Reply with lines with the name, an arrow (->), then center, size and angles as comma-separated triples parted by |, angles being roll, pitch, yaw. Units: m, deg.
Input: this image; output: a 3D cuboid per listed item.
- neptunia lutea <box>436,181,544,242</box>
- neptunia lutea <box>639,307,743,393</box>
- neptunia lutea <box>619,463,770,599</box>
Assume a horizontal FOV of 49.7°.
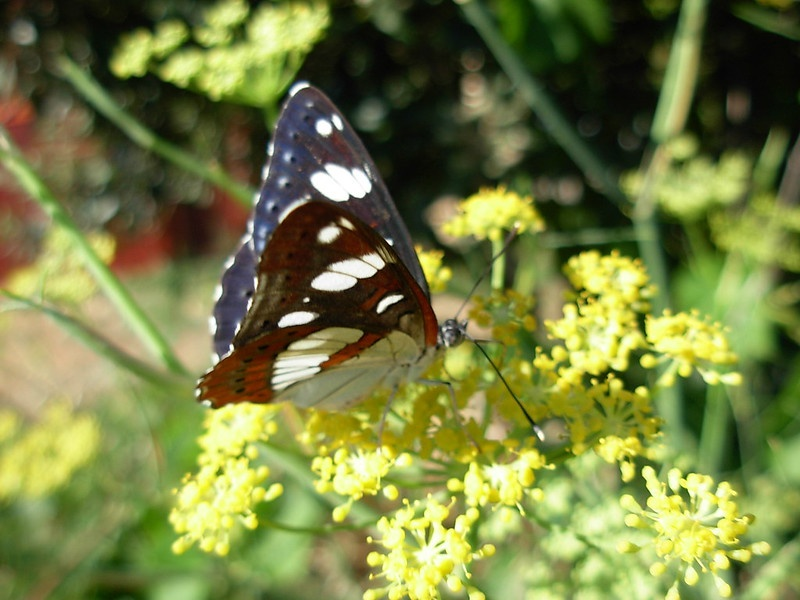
neptunia lutea -> 0.281, -0.254, 2.630 | 0.214, 0.105, 0.221 | -9, 3, 36
neptunia lutea -> 0.783, 0.160, 2.348 | 0.220, 0.224, 0.094 | 14, -37, 13
neptunia lutea -> 0.807, 0.644, 2.359 | 0.346, 0.356, 0.541 | -14, -26, 19
